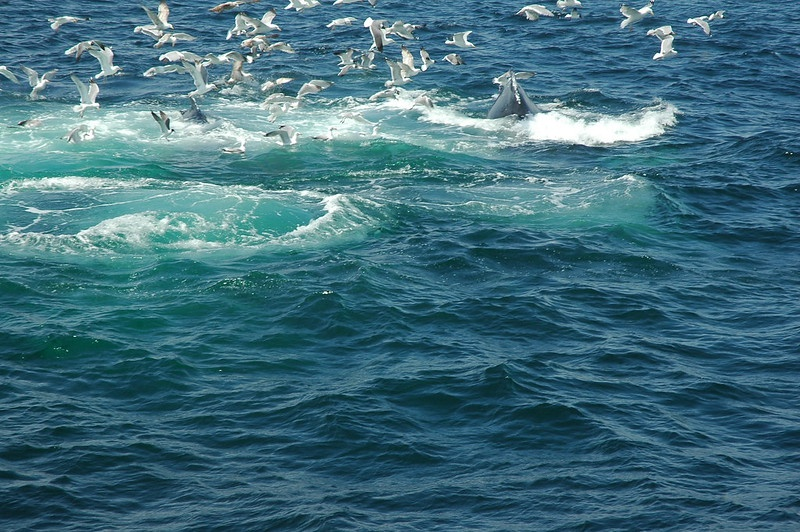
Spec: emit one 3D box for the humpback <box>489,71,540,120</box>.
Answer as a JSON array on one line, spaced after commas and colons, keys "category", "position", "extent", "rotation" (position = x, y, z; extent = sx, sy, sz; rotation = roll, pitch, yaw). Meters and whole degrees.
[{"category": "humpback", "position": [5.615, -8.991, 76.399], "extent": [2.903, 1.029, 2.414], "rotation": [-2, 80, 3]}]
